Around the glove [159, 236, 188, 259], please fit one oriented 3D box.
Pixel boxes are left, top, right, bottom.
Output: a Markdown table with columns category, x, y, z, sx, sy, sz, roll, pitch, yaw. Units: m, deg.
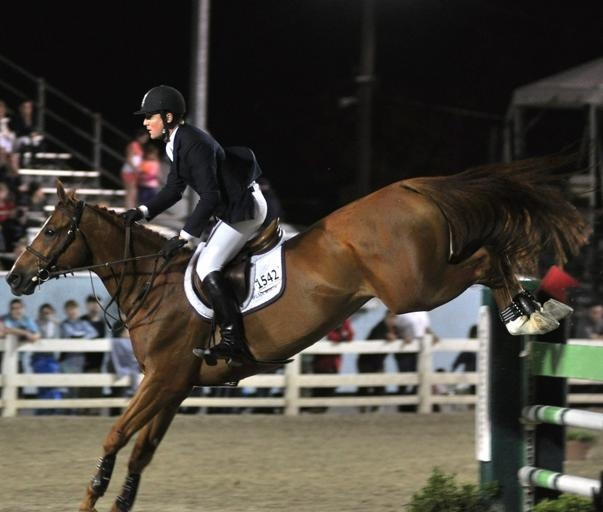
| category | x | y | z | sx | sy | sz | roll | pitch | yaw |
| --- | --- | --- | --- | --- | --- | --- | --- | --- | --- |
| glove | -1.006 | -0.074 | 10.552 | 0.235 | 0.127 | 0.084 | -22 | -46 | 19 |
